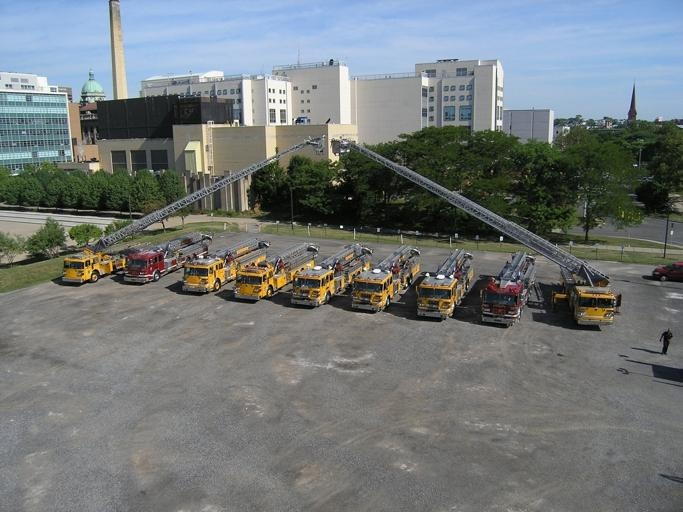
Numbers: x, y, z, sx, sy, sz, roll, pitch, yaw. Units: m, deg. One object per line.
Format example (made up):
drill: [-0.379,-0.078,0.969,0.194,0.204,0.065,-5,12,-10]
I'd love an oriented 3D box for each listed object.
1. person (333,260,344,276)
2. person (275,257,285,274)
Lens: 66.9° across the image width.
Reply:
person: [-0.152,0.983,42.541,0.287,1.214,1.304,4,11,26]
person: [-5.117,0.829,42.992,0.668,1.053,0.340,7,2,-42]
